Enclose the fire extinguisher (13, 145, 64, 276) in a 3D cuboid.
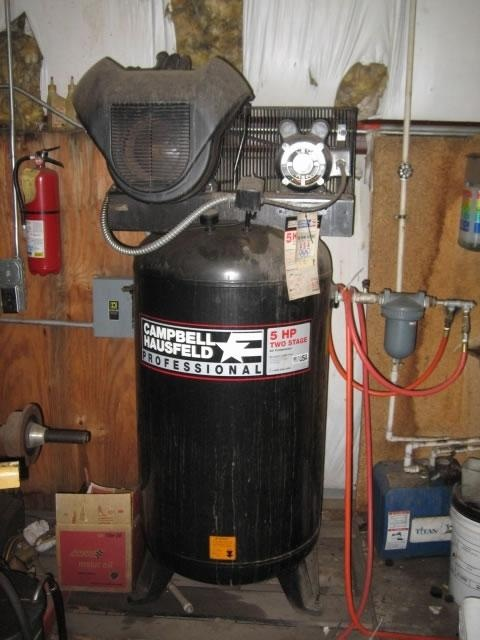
[{"bbox_3d":[-0.634,-0.334,2.018,0.131,0.440,0.111,25,29,36],"label":"fire extinguisher"}]
